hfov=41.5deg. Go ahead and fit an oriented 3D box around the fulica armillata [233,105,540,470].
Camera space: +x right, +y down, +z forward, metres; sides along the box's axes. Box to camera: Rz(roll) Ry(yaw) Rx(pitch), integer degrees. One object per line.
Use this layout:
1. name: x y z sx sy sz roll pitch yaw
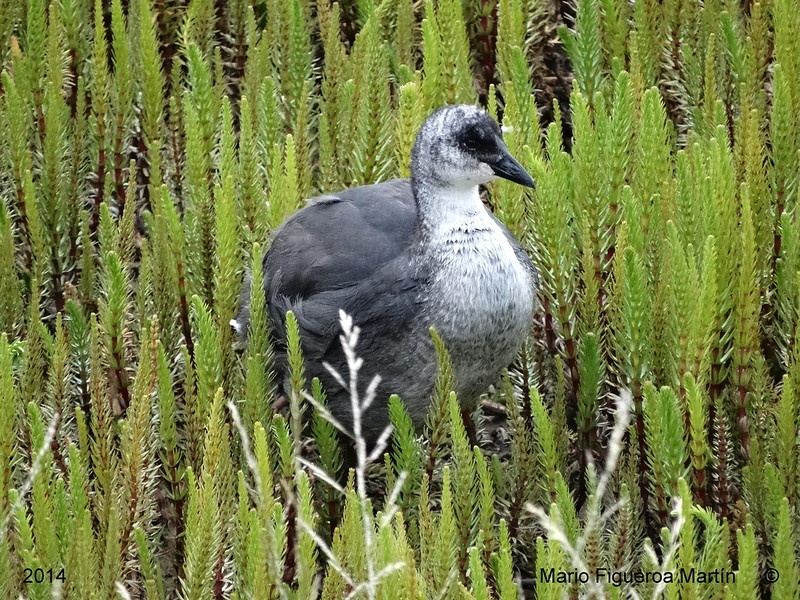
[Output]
1. fulica armillata: 0.225 -0.195 4.026 1.201 1.339 0.904 14 14 24
